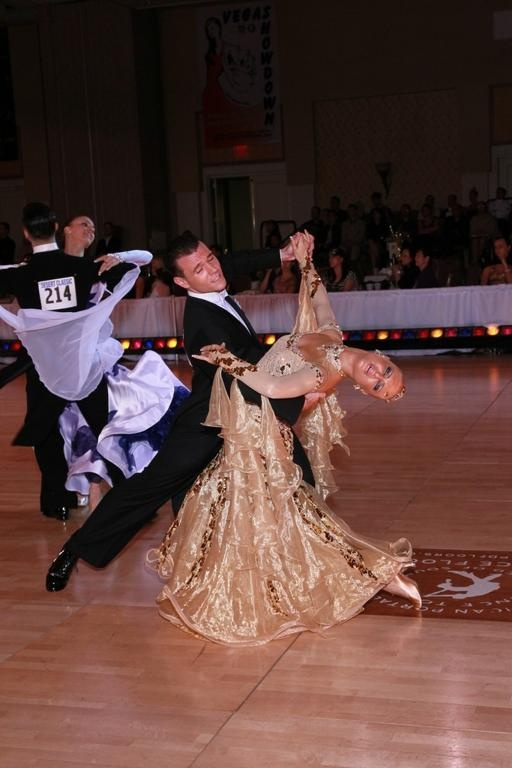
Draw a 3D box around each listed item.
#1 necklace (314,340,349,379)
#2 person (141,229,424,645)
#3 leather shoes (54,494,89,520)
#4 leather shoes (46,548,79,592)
[{"bbox_3d":[0.197,-0.061,1.736,0.066,0.077,0.068,-4,2,7],"label":"necklace"},{"bbox_3d":[0.081,0.132,1.909,0.796,0.989,0.673,-1,16,-17],"label":"person"},{"bbox_3d":[-0.906,0.587,3.247,0.065,0.070,0.164,11,15,-2],"label":"leather shoes"},{"bbox_3d":[-0.626,0.604,2.265,0.078,0.081,0.203,11,13,7],"label":"leather shoes"}]
